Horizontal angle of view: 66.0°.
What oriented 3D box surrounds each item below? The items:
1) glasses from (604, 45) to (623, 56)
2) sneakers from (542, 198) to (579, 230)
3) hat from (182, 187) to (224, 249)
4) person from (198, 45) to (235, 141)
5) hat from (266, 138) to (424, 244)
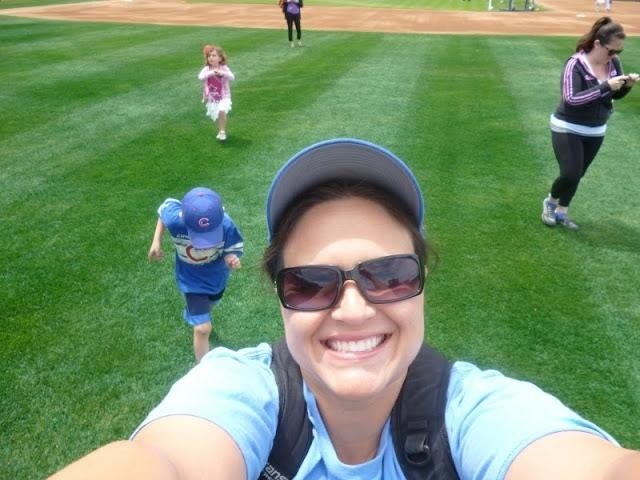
[{"bbox_3d":[3.438,-2.244,5.842,0.147,0.044,0.148,5,63,-13],"label":"glasses"},{"bbox_3d":[3.229,-0.336,6.654,0.447,0.155,0.197,44,9,28],"label":"sneakers"},{"bbox_3d":[-1.049,-0.202,4.448,0.347,0.227,0.539,-2,58,-12],"label":"hat"},{"bbox_3d":[-1.831,-2.603,8.852,0.573,1.424,1.104,-7,36,-10],"label":"person"},{"bbox_3d":[0.131,-0.229,2.701,0.548,0.607,0.621,-1,11,6],"label":"hat"}]
